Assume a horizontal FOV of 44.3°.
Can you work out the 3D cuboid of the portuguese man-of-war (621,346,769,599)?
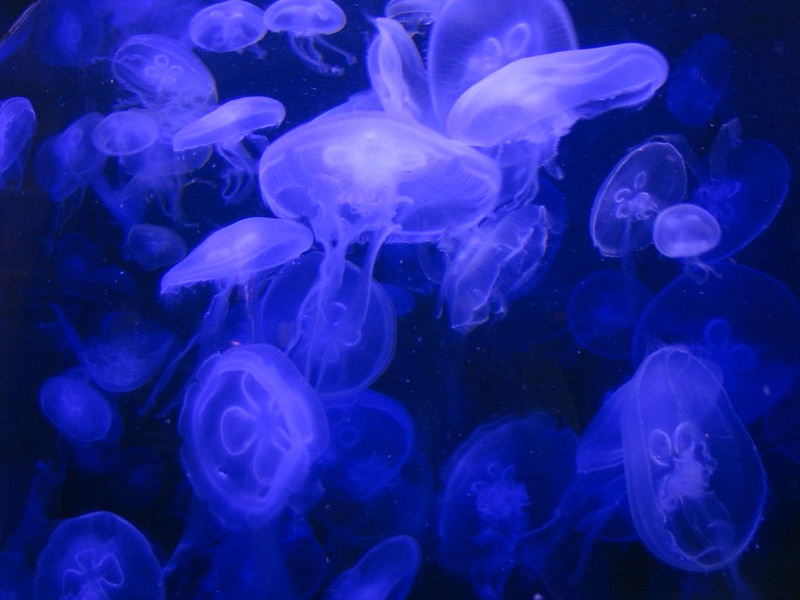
[{"bbox_3d":[1.580,0.890,5.277,0.829,0.883,0.632,15,-39,-10],"label":"portuguese man-of-war"}]

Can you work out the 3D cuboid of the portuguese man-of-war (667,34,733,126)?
[{"bbox_3d":[1.644,-1.190,5.439,0.313,0.116,0.521,26,-84,2],"label":"portuguese man-of-war"}]

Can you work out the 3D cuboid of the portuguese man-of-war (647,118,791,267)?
[{"bbox_3d":[1.850,-0.618,5.335,0.513,0.540,0.443,-16,-44,26],"label":"portuguese man-of-war"}]
